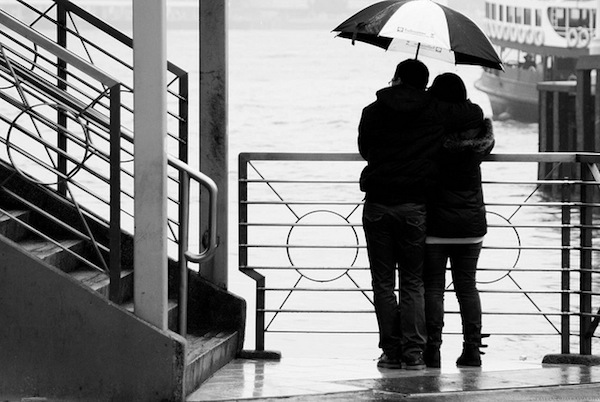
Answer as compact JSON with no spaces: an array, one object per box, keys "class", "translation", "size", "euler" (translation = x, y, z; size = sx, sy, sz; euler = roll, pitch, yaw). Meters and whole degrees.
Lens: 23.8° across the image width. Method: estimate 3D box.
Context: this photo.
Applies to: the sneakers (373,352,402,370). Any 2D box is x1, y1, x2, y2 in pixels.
[{"class":"sneakers","translation":[1.352,2.391,21.333],"size":[0.413,0.207,0.189],"euler":[3,2,18]}]
